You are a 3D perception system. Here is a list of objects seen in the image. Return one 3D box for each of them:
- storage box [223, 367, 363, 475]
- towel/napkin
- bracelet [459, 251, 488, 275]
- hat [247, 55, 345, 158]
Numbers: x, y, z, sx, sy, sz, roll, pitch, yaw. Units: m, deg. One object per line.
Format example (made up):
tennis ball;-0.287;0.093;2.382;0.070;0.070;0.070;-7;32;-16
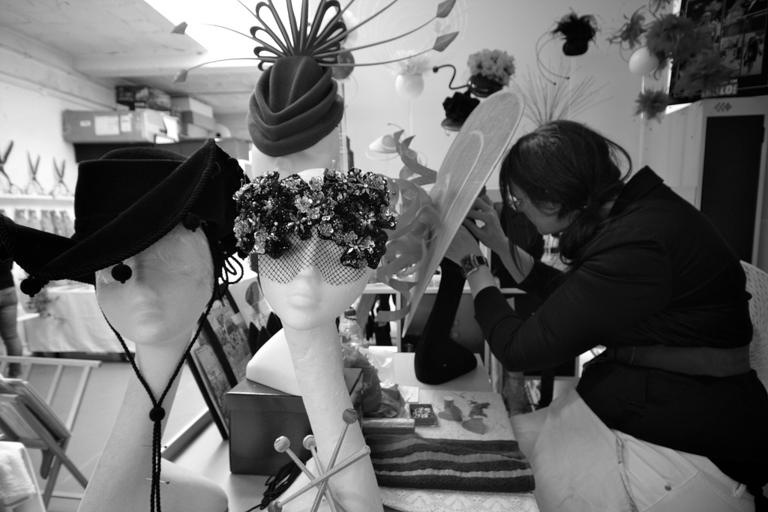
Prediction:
storage box;-0.447;0.679;2.694;0.470;0.353;0.467;-1;0;3
towel/napkin;0.254;0.801;2.401;0.528;0.077;0.236;1;39;3
bracelet;0.373;0.027;2.641;0.108;0.075;0.101;10;-20;-36
hat;-0.336;-0.586;2.439;0.325;0.384;0.212;10;-34;9
